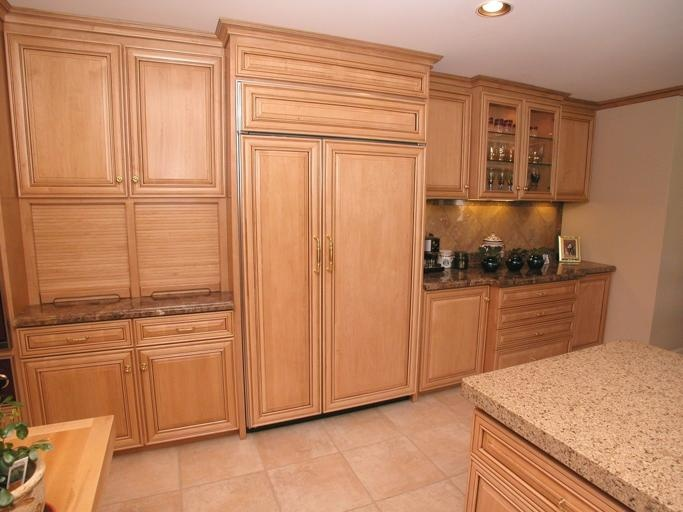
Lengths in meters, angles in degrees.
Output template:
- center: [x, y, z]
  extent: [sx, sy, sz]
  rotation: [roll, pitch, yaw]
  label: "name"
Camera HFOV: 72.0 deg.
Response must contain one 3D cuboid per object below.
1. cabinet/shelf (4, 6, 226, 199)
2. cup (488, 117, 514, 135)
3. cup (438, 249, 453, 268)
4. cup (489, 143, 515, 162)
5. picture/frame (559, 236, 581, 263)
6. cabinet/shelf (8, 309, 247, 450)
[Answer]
- center: [-1.504, -1.024, 3.024]
  extent: [1.300, 0.872, 0.464]
  rotation: [-3, 11, -21]
  label: "cabinet/shelf"
- center: [1.386, -1.135, 4.083]
  extent: [0.174, 0.106, 0.183]
  rotation: [1, 6, 0]
  label: "cup"
- center: [0.945, 0.029, 4.243]
  extent: [0.173, 0.152, 0.150]
  rotation: [-2, 9, -16]
  label: "cup"
- center: [1.392, -0.917, 4.122]
  extent: [0.203, 0.098, 0.060]
  rotation: [-3, 8, -22]
  label: "cup"
- center: [2.302, -0.063, 4.769]
  extent: [0.335, 0.333, 0.031]
  rotation: [0, 0, -14]
  label: "picture/frame"
- center: [-1.367, 0.737, 2.924]
  extent: [1.144, 0.676, 0.404]
  rotation: [-3, 8, -22]
  label: "cabinet/shelf"
